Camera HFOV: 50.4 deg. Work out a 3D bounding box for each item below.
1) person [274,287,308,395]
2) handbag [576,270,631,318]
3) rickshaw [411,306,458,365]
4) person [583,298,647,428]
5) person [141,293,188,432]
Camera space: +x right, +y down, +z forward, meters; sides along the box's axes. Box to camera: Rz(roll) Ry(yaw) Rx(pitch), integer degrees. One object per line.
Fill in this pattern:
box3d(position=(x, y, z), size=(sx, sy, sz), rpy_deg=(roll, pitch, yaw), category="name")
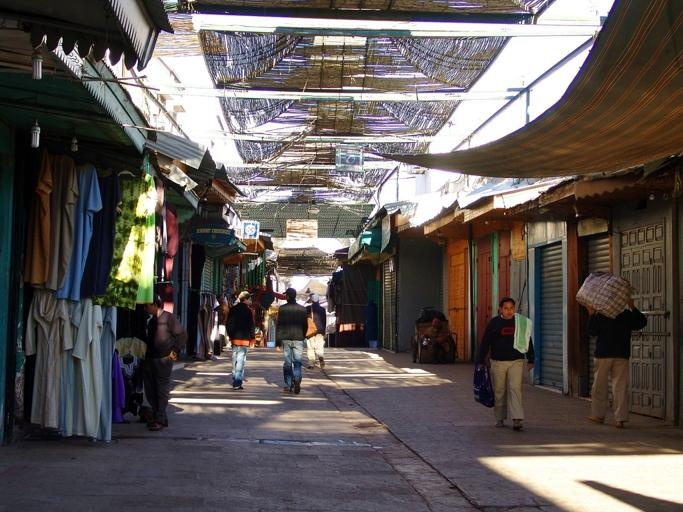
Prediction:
box3d(position=(-0.857, 1.565, 13.585), size=(0.575, 2.021, 0.797), rpy_deg=(3, -6, -29), category="person")
box3d(position=(3.855, 0.575, 10.676), size=(0.628, 0.668, 0.301), rpy_deg=(23, -9, 35), category="handbag")
box3d(position=(2.615, 2.168, 20.486), size=(0.956, 1.617, 1.018), rpy_deg=(2, 1, -10), category="rickshaw")
box3d(position=(3.993, 1.490, 10.517), size=(0.717, 1.952, 0.759), rpy_deg=(0, -1, -22), category="person")
box3d(position=(-2.314, 1.433, 9.500), size=(0.499, 1.628, 0.363), rpy_deg=(4, -9, -24), category="person")
